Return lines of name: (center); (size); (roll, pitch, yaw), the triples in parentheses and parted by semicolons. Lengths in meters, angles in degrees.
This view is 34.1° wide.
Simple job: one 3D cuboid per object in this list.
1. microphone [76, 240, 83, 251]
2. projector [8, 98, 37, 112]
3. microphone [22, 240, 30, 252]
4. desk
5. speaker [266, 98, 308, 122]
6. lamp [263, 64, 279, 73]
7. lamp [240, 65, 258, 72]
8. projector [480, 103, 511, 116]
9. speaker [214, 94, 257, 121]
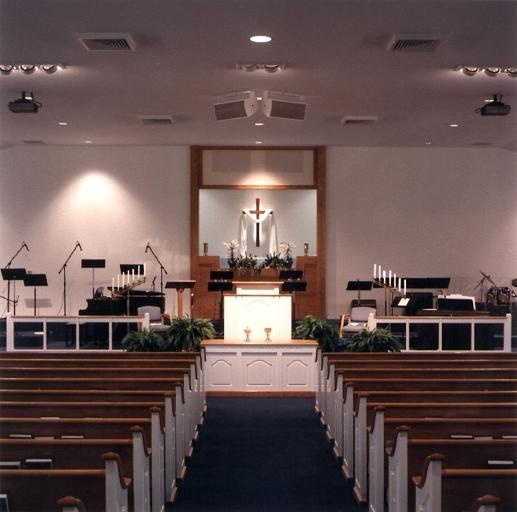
microphone: (-3.575, -0.224, 16.880); (0.097, 0.183, 0.107); (-37, -3, -25)
projector: (-3.316, -2.132, 11.926); (0.369, 0.194, 0.385); (1, 13, -8)
microphone: (-4.623, -0.219, 16.795); (0.108, 0.158, 0.084); (-9, -18, -23)
desk: (0.035, 1.580, 11.332); (1.472, 0.630, 0.525); (-1, -16, 3)
speaker: (0.388, -2.099, 12.003); (0.633, 0.284, 0.433); (0, 13, -13)
lamp: (0.177, -2.437, 10.907); (0.204, 0.112, 0.327); (3, 12, 0)
lamp: (-0.119, -2.445, 10.928); (0.223, 0.084, 0.292); (2, 12, -1)
projector: (3.452, -2.150, 12.274); (0.399, 0.201, 0.647); (6, 13, 14)
speaker: (-0.320, -2.125, 11.998); (0.544, 0.176, 0.297); (-4, -41, 12)
